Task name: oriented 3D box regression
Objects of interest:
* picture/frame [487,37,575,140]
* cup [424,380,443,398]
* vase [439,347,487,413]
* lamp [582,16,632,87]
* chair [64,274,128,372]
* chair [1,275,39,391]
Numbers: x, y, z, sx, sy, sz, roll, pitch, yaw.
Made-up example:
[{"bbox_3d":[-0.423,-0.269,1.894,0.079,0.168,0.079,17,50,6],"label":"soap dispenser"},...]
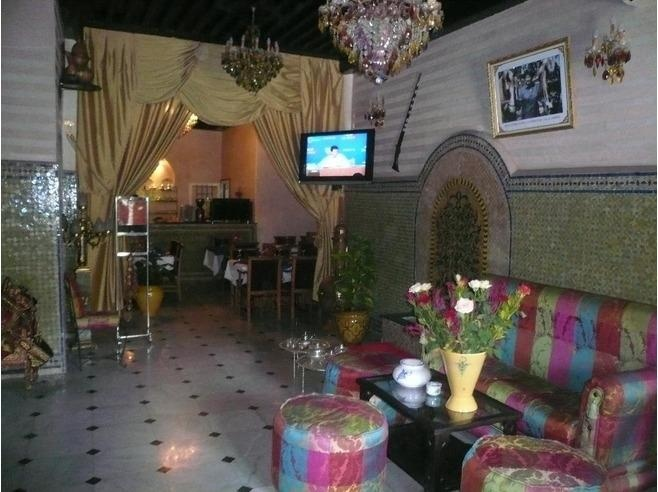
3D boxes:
[{"bbox_3d":[2.038,-1.581,4.938,0.027,0.800,0.899,-15,13,-32],"label":"picture/frame"},{"bbox_3d":[0.829,1.103,3.782,0.109,0.074,0.115,-1,2,0],"label":"cup"},{"bbox_3d":[0.956,1.026,3.790,0.370,0.494,0.424,1,-5,1],"label":"vase"},{"bbox_3d":[2.346,-1.601,4.086,0.265,0.482,0.359,-1,3,19],"label":"lamp"},{"bbox_3d":[-3.107,0.864,6.532,0.670,1.119,1.400,-3,9,-24],"label":"chair"},{"bbox_3d":[-3.196,0.946,5.080,0.376,1.094,0.525,-4,10,-32],"label":"chair"}]
